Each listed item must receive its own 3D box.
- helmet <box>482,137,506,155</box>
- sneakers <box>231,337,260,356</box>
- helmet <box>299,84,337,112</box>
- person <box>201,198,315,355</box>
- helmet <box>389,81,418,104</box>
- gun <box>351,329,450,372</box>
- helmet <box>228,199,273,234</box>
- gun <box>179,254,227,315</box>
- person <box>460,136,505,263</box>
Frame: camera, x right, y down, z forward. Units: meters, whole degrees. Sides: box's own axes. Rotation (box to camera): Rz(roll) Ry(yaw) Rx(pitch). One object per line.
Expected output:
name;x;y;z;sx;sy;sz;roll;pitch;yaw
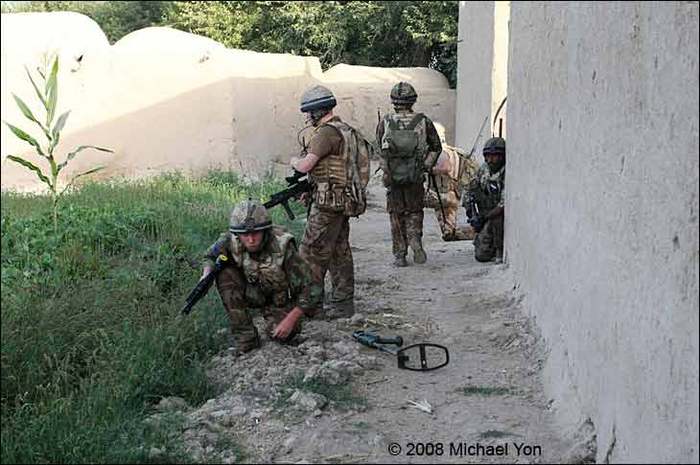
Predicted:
helmet;1.752;-1.066;8.968;0.308;0.205;0.219;2;12;34
sneakers;-0.942;1.019;6.715;0.134;0.091;0.228;-9;-6;20
helmet;-0.310;-1.350;7.263;0.304;0.262;0.250;6;18;21
person;-0.844;0.433;6.730;0.997;1.470;1.008;-2;15;0
helmet;0.636;-1.680;8.886;0.250;0.269;0.302;-4;-2;1
gun;0.490;1.078;6.779;0.341;0.187;0.778;-21;18;-37
helmet;-0.881;-0.167;6.535;0.404;0.298;0.411;-5;12;-11
gun;-1.412;0.512;7.114;0.626;0.135;0.221;-54;26;-21
person;1.730;-0.418;9.194;0.351;1.545;0.656;-11;12;-36
